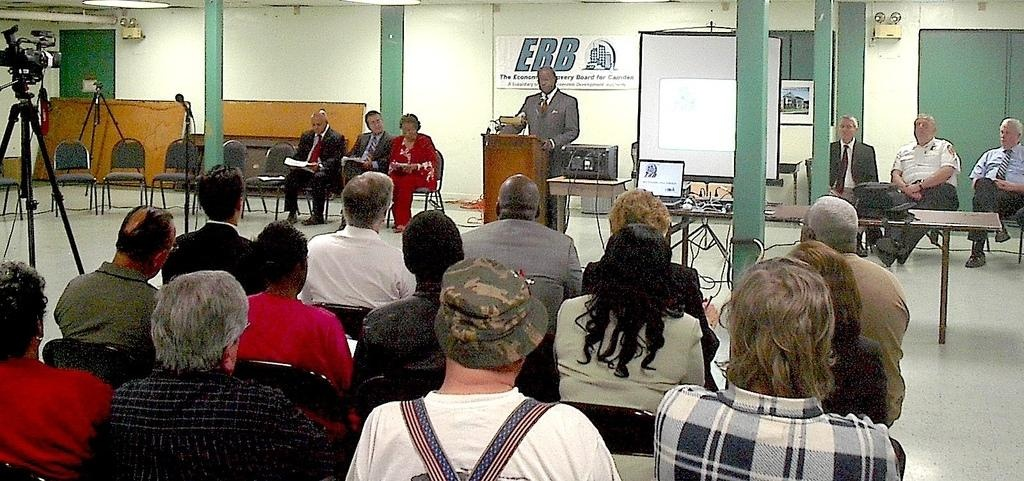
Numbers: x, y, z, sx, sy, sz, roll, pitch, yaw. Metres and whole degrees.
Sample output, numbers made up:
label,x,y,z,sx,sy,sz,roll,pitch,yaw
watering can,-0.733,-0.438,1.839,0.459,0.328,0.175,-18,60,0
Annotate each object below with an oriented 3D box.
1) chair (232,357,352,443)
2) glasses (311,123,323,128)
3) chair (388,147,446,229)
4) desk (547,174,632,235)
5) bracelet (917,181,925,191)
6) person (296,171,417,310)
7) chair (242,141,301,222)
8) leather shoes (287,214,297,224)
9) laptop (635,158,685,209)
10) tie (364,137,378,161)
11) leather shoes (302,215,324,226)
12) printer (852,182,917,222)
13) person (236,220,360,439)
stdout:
label,x,y,z,sx,sy,sz,roll,pitch,yaw
chair,-1.436,1.022,4.833,0.686,0.226,0.464,16,-7,-9
glasses,-3.299,-1.968,12.410,0.204,0.055,0.199,0,5,7
chair,-1.525,-0.921,12.123,0.661,1.032,0.679,4,15,13
desk,0.990,-0.455,9.715,0.823,0.672,0.680,3,9,15
bracelet,6.007,-0.812,10.803,0.081,0.119,0.064,-2,-4,21
person,-1.213,0.148,6.348,1.141,1.426,0.862,2,18,1
chair,-4.149,-1.078,12.690,0.764,1.142,0.788,9,15,8
leather shoes,-3.539,-0.350,11.809,0.164,0.138,0.162,-3,-6,38
laptop,1.900,-0.672,8.693,0.764,0.502,0.583,2,14,-22
tie,-2.362,-1.535,12.296,0.104,0.442,0.121,32,-13,-3
leather shoes,-3.275,-0.326,12.036,0.309,0.127,0.151,1,4,-27
printer,4.214,-0.445,8.668,0.667,0.298,0.969,-7,11,-14
person,-1.762,0.741,5.497,1.146,1.689,0.932,2,8,-9
